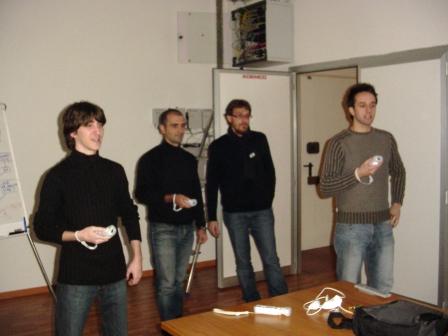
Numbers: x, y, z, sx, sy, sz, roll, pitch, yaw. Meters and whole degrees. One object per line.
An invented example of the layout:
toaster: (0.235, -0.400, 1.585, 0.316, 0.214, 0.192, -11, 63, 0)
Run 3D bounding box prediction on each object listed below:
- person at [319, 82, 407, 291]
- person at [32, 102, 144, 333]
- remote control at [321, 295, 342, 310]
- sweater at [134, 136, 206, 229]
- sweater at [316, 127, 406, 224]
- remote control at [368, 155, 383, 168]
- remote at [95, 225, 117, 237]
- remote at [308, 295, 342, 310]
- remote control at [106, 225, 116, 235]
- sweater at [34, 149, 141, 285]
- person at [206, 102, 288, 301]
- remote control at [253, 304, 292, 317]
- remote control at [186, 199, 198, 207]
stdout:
person: (1.093, 0.108, 2.966, 0.509, 1.519, 0.717, 4, 9, 41)
person: (-0.805, 0.317, 2.238, 0.586, 1.402, 0.441, -4, 7, -14)
remote control: (0.568, 0.704, 1.988, 0.082, 0.035, 0.062, -28, -16, 20)
sweater: (-0.461, 0.158, 3.220, 0.565, 0.787, 0.315, -3, 7, -4)
sweater: (1.102, 0.067, 2.896, 0.685, 0.721, 0.399, -4, 8, -11)
remote control: (1.020, -0.040, 2.553, 0.078, 0.078, 0.066, -1, 7, 11)
remote: (-0.635, 0.342, 2.107, 0.075, 0.060, 0.032, -8, 39, -11)
remote: (0.540, 0.713, 1.986, 0.100, 0.034, 0.085, -9, 0, -3)
remote control: (-0.623, 0.348, 2.103, 0.038, 0.061, 0.085, -3, 7, -3)
sweater: (-0.762, 0.294, 2.206, 0.609, 0.794, 0.395, -6, 8, -30)
person: (0.214, 0.327, 3.699, 0.750, 1.899, 0.437, -1, 7, 9)
remote control: (0.255, 0.737, 1.993, 0.203, 0.040, 0.096, -2, 7, 9)
remote control: (-0.244, 0.276, 3.015, 0.087, 0.060, 0.051, -8, 9, -38)
